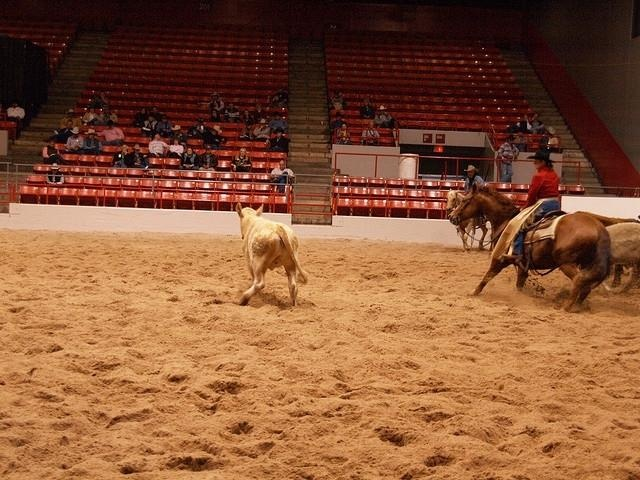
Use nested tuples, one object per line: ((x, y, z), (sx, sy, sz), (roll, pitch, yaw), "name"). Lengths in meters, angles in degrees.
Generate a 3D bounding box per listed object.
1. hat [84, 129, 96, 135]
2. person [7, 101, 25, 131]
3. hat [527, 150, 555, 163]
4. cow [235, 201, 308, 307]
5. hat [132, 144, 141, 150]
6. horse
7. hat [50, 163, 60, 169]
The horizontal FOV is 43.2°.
((-7.964, -3.718, 27.899), (0.440, 0.153, 0.451), (-1, 1, 8), "hat")
((-11.074, -4.492, 29.565), (0.692, 0.996, 0.711), (-3, 10, -44), "person")
((4.558, -1.764, 16.485), (0.520, 0.215, 0.603), (6, -12, 15), "hat")
((-0.975, 0.367, 15.106), (1.436, 1.809, 0.802), (9, 9, 37), "cow")
((-6.117, -3.075, 26.901), (0.447, 0.115, 0.455), (0, 1, -9), "hat")
((4.154, 0.171, 16.284), (3.416, 2.370, 1.119), (5, 4, 41), "horse")
((-8.085, -2.223, 24.613), (0.229, 0.109, 0.263), (1, -3, -13), "hat")
